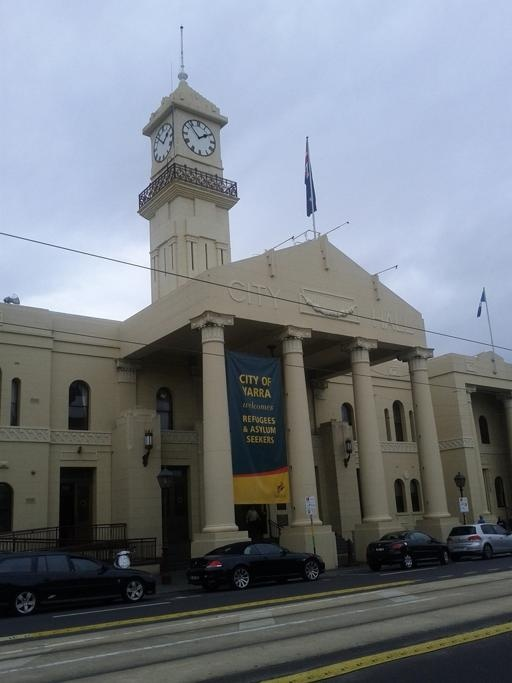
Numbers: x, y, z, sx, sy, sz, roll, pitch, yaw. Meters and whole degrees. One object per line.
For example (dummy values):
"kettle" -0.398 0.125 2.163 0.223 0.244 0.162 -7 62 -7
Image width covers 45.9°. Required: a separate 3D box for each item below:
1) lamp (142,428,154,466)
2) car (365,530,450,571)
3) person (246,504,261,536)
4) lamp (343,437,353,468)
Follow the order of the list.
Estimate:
"lamp" -4.557 4.492 25.315 0.485 1.513 0.386 -5 -15 0
"car" 5.307 7.310 21.216 2.906 0.994 1.378 11 -23 -37
"person" -0.110 8.490 28.172 0.622 1.344 1.319 -5 -15 -1
"lamp" 4.964 5.993 32.451 0.484 1.521 0.638 3 -17 -30
